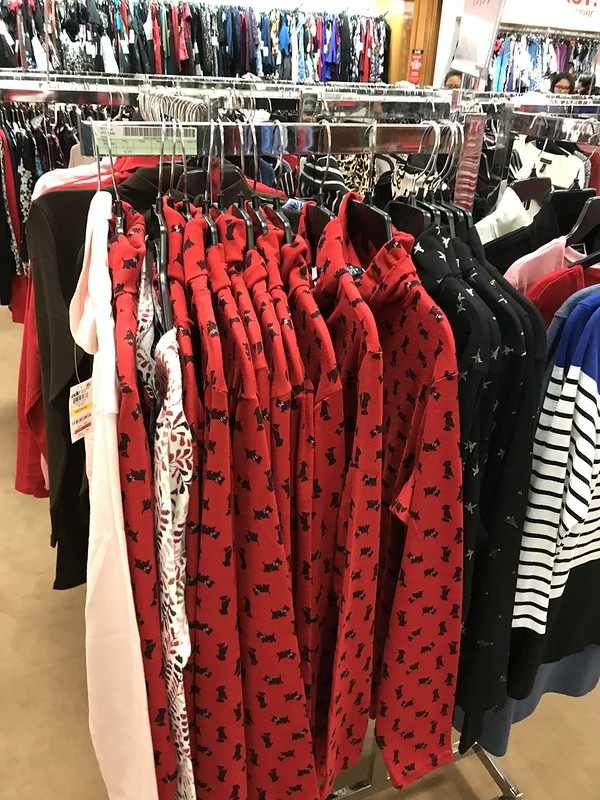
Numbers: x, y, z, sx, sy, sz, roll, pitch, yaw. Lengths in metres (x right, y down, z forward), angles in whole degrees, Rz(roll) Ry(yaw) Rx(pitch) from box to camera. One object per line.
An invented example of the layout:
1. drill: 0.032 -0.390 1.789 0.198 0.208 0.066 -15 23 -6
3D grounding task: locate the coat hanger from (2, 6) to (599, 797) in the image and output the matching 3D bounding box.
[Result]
1. coat hanger: -0.034 -0.219 1.321 0.718 1.743 0.889 -6 25 -15
